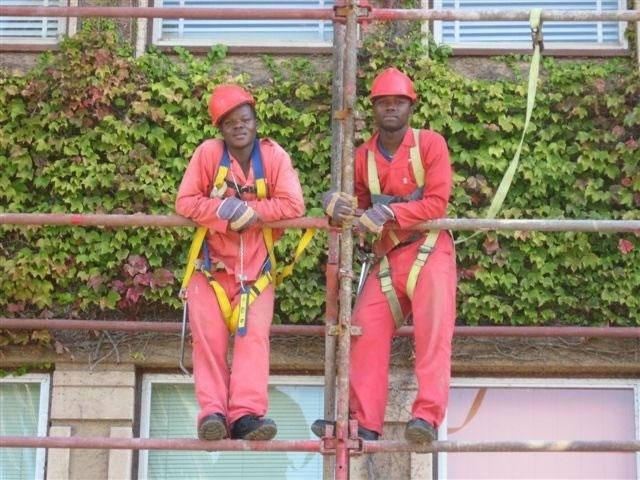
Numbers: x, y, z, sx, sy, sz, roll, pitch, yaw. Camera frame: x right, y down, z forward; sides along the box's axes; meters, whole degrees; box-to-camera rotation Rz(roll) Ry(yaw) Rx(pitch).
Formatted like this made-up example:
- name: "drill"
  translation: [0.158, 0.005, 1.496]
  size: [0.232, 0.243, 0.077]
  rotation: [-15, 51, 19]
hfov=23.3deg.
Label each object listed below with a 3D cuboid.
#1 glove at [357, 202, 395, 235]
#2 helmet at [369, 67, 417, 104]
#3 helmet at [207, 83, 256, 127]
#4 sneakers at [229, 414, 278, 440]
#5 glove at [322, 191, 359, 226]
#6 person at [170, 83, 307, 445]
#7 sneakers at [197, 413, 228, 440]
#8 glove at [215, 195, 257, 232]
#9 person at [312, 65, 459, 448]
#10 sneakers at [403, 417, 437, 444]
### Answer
- name: "glove"
  translation: [0.465, -0.169, 12.600]
  size: [0.286, 0.223, 0.089]
  rotation: [0, -3, -17]
- name: "helmet"
  translation: [0.641, -1.321, 13.062]
  size: [0.362, 0.246, 0.478]
  rotation: [1, 0, 16]
- name: "helmet"
  translation: [-0.787, -1.155, 12.909]
  size: [0.497, 0.276, 0.398]
  rotation: [-13, -4, -3]
- name: "sneakers"
  translation: [-0.532, 1.487, 12.277]
  size: [0.402, 0.154, 0.189]
  rotation: [-5, -1, 33]
- name: "glove"
  translation: [0.176, -0.249, 12.552]
  size: [0.283, 0.297, 0.164]
  rotation: [-1, -3, -3]
- name: "person"
  translation: [-0.674, 0.150, 12.634]
  size: [0.972, 2.907, 0.739]
  rotation: [-1, -3, -6]
- name: "sneakers"
  translation: [-0.842, 1.480, 12.248]
  size: [0.233, 0.215, 0.215]
  rotation: [-1, -3, -5]
- name: "glove"
  translation: [-0.664, -0.205, 12.557]
  size: [0.288, 0.221, 0.130]
  rotation: [40, -9, -6]
- name: "person"
  translation: [0.616, 0.098, 12.697]
  size: [0.990, 3.086, 0.804]
  rotation: [-1, -3, 5]
- name: "sneakers"
  translation: [0.823, 1.517, 12.274]
  size: [0.289, 0.206, 0.211]
  rotation: [0, -3, -17]
